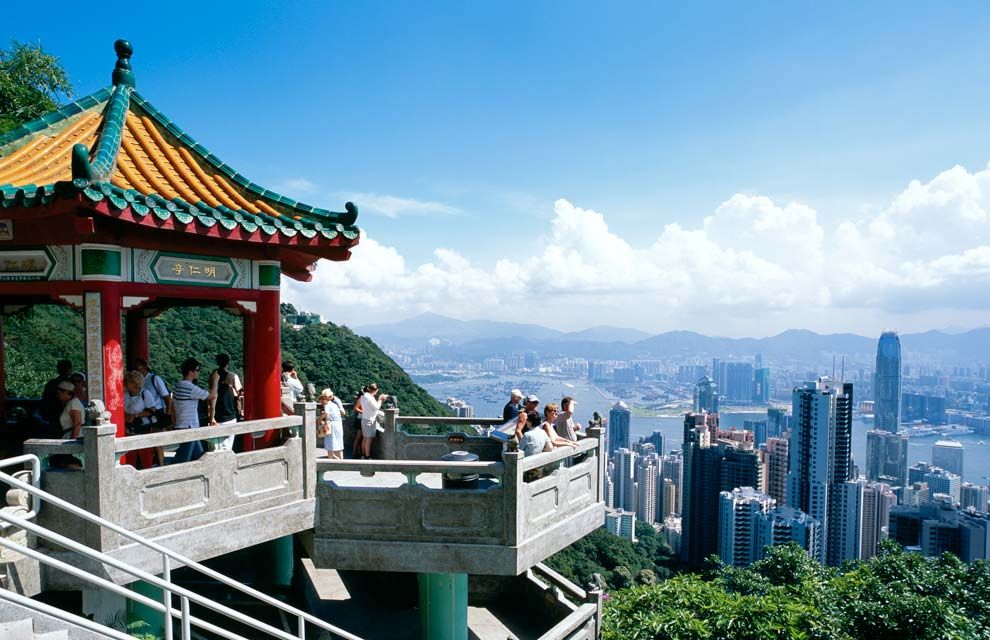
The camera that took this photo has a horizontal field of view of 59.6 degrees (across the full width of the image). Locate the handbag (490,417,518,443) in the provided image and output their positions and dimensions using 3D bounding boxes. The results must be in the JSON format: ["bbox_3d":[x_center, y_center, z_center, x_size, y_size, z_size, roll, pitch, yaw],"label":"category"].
[{"bbox_3d":[0.330,2.830,21.512,0.633,0.184,0.634,-30,15,-25],"label":"handbag"}]

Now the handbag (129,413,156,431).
[{"bbox_3d":[-7.920,2.254,19.445,0.566,0.518,0.304,0,0,-20],"label":"handbag"}]

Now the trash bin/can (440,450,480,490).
[{"bbox_3d":[-0.772,3.431,19.812,0.824,0.745,1.259,0,0,6],"label":"trash bin/can"}]

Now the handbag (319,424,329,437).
[{"bbox_3d":[-4.127,2.705,21.183,0.244,0.319,0.119,-1,-4,15],"label":"handbag"}]

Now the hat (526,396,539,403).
[{"bbox_3d":[0.882,1.893,20.797,0.312,0.142,0.435,1,-5,-9],"label":"hat"}]

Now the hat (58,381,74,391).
[{"bbox_3d":[-9.187,1.403,18.628,0.192,0.179,0.242,9,6,17],"label":"hat"}]

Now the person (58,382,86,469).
[{"bbox_3d":[-8.804,2.231,18.027,0.615,1.755,0.696,10,-45,-23],"label":"person"}]
